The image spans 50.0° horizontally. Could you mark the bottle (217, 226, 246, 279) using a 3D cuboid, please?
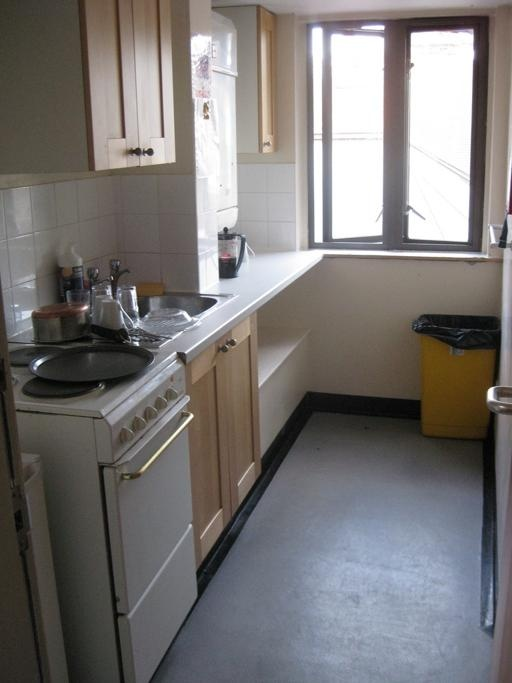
[{"bbox_3d":[-0.137,-0.470,2.909,0.139,0.247,0.252,-2,13,-4],"label":"bottle"}]

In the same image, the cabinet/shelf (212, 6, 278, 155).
[{"bbox_3d":[-0.018,-1.545,3.264,0.429,0.810,0.208,-11,15,-38],"label":"cabinet/shelf"}]

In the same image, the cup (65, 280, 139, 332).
[{"bbox_3d":[-0.551,-0.138,1.937,0.242,0.228,0.151,13,15,20],"label":"cup"}]

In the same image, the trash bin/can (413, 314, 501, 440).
[{"bbox_3d":[1.197,0.125,3.546,0.527,0.991,0.621,1,10,15],"label":"trash bin/can"}]

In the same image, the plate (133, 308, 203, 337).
[{"bbox_3d":[-0.332,-0.072,2.026,0.261,0.037,0.320,-14,20,-40],"label":"plate"}]
